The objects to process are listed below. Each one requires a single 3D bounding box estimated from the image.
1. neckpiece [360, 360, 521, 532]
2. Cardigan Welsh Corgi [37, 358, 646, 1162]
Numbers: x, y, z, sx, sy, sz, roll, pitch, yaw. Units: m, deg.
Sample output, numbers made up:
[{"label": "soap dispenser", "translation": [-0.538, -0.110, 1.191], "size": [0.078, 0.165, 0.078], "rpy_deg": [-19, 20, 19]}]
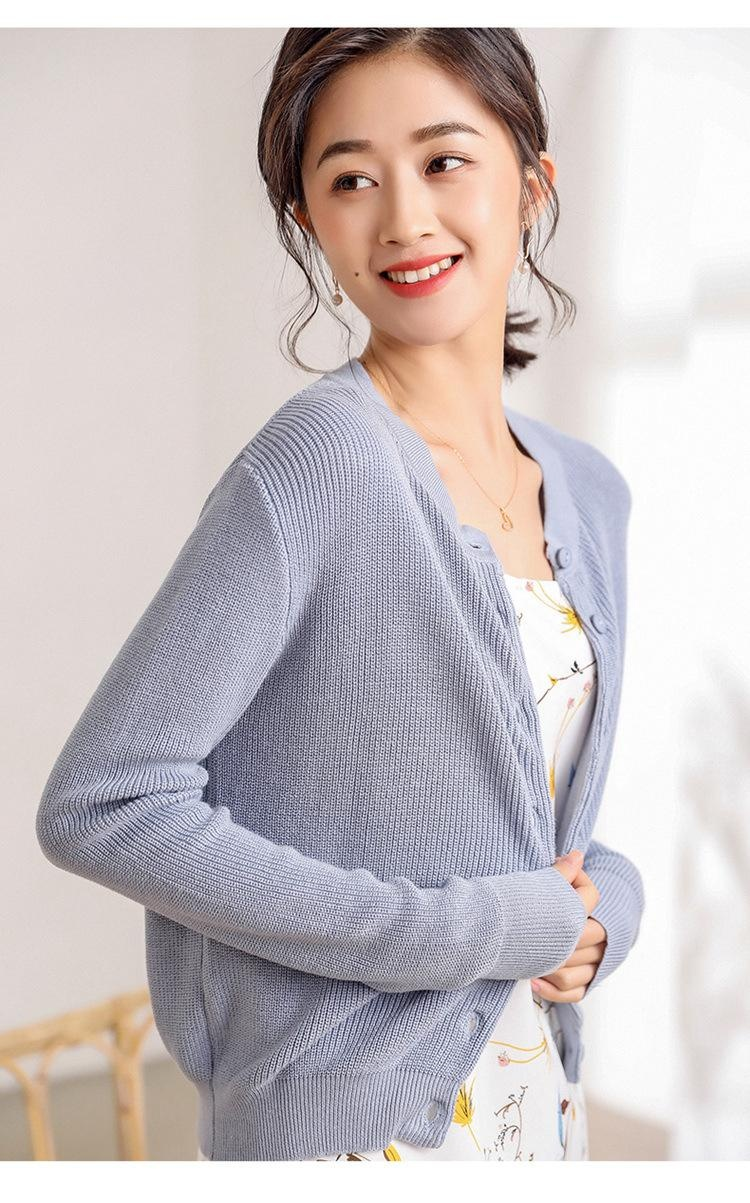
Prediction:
[{"label": "neckpiece", "translation": [0.075, -0.155, 1.205], "size": [0.086, 0.252, 0.015], "rpy_deg": [-32, -6, 40]}, {"label": "Cardigan Welsh Corgi", "translation": [-0.055, 0.150, 1.011], "size": [0.461, 0.688, 0.253], "rpy_deg": [-8, 9, -16]}]
